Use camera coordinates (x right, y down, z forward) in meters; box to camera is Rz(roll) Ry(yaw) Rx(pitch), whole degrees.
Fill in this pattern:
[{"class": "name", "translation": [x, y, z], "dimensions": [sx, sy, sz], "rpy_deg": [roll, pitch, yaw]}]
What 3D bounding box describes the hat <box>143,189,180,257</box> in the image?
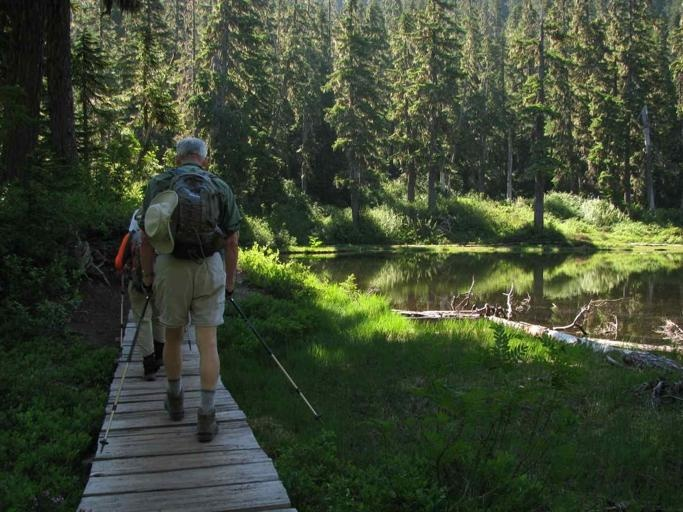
[{"class": "hat", "translation": [-2.361, -0.430, 8.929], "dimensions": [0.232, 0.664, 0.697], "rpy_deg": [3, 30, -32]}]
